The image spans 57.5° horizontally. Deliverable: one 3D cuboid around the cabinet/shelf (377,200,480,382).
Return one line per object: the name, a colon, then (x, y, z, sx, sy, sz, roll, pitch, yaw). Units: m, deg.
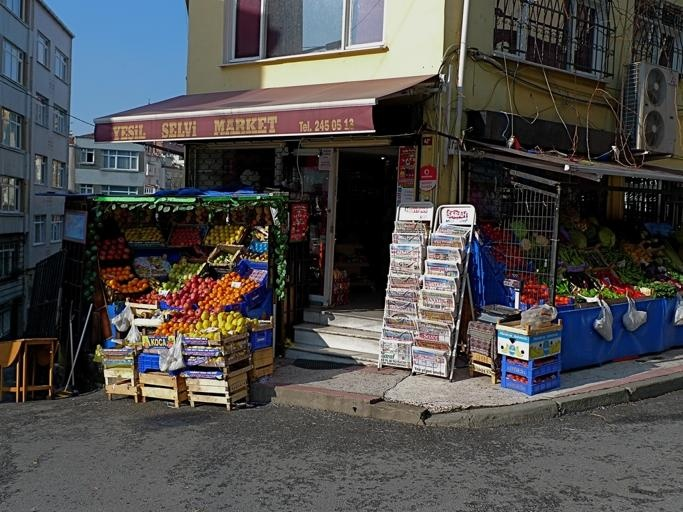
cabinet/shelf: (1.425, 0.628, 10.279, 1.352, 3.029, 1.068, 4, 7, 18)
